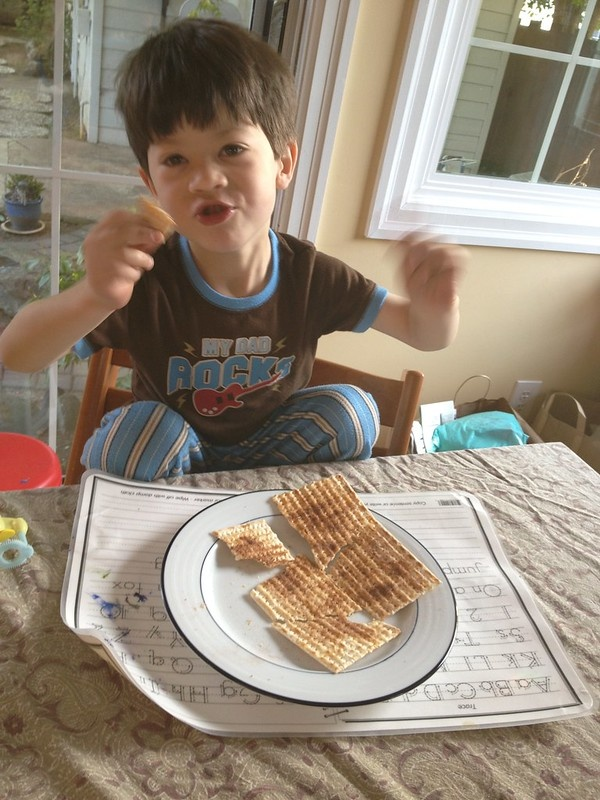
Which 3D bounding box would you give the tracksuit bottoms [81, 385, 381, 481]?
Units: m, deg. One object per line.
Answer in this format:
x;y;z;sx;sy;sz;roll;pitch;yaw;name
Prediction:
-0.147;0.082;1.167;0.587;0.146;0.277;3;11;-35;tracksuit bottoms

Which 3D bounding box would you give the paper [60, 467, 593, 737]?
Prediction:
0.021;0.205;0.663;0.352;0.021;0.478;4;27;-11;paper

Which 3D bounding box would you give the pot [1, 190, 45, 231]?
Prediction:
-0.670;-0.456;1.610;0.080;0.056;0.076;7;34;-5;pot
